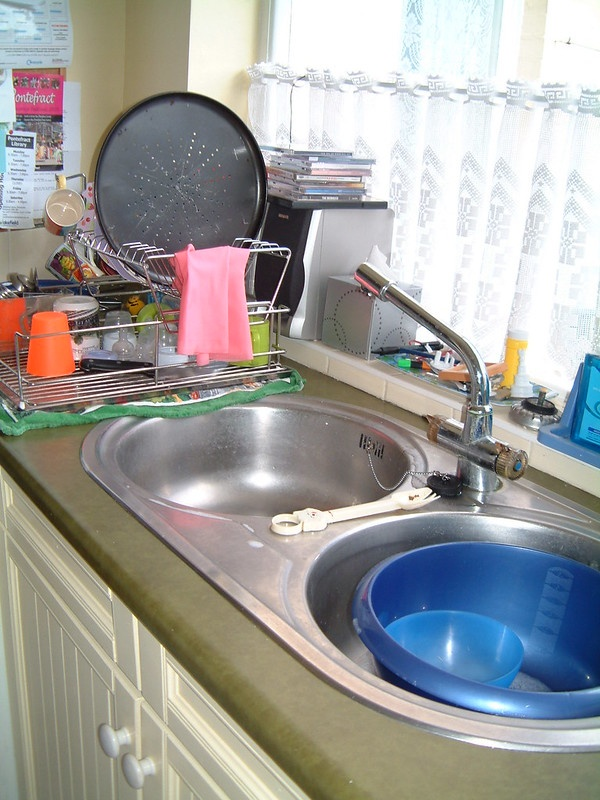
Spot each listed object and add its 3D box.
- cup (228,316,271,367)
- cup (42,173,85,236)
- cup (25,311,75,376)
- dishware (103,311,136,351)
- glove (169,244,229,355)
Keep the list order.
[{"bbox_3d":[-0.090,-0.123,1.302,0.071,0.108,0.117,0,9,-1],"label":"cup"},{"bbox_3d":[-0.580,-0.459,1.524,0.097,0.150,0.105,0,-8,0],"label":"cup"},{"bbox_3d":[-0.432,-0.111,1.130,0.109,0.118,0.113,4,17,-1],"label":"cup"},{"bbox_3d":[-0.379,-0.142,1.285,0.086,0.093,0.091,1,21,-12],"label":"dishware"},{"bbox_3d":[-0.170,-0.173,1.065,0.100,0.186,0.038,3,9,-19],"label":"glove"}]
